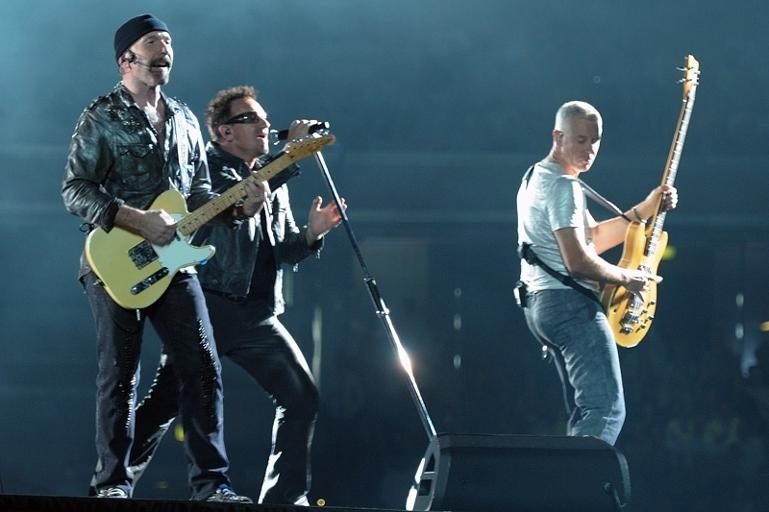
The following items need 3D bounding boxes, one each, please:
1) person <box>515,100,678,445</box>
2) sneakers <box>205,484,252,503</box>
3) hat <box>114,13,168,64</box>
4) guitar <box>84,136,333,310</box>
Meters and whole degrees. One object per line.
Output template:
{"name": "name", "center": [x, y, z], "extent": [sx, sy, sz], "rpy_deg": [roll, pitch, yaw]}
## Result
{"name": "person", "center": [1.245, 0.077, 7.032], "extent": [0.873, 1.999, 0.862], "rpy_deg": [0, 13, 8]}
{"name": "sneakers", "center": [-0.854, 1.297, 6.167], "extent": [0.296, 0.113, 0.095], "rpy_deg": [-1, -9, 2]}
{"name": "hat", "center": [-1.396, -1.254, 6.423], "extent": [0.268, 0.154, 0.258], "rpy_deg": [-30, -10, -17]}
{"name": "guitar", "center": [-1.055, -0.206, 6.501], "extent": [1.162, 0.407, 0.122], "rpy_deg": [-38, 16, -21]}
